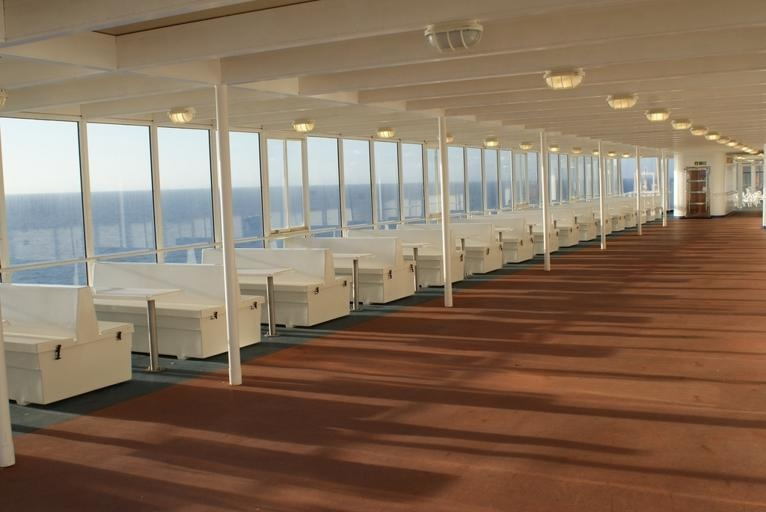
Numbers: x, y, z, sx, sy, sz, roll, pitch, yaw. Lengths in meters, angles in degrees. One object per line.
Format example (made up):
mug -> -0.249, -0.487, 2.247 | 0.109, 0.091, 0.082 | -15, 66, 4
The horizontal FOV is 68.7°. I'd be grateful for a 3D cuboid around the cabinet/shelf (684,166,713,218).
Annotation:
cabinet/shelf -> 18.031, -3.666, 32.157 | 1.274, 2.885, 0.510 | 2, 5, 28
